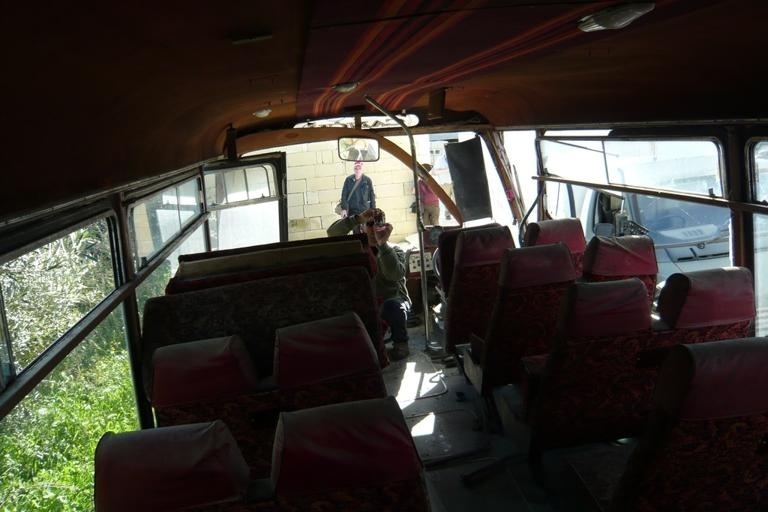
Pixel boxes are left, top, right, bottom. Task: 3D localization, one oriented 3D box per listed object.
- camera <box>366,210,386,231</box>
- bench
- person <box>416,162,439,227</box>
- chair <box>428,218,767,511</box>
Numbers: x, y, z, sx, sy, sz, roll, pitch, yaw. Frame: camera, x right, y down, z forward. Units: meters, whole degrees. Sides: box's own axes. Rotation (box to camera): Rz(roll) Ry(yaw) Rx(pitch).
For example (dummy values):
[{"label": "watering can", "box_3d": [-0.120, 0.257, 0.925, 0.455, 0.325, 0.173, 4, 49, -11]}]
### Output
[{"label": "camera", "box_3d": [-0.095, -0.381, 5.470, 0.161, 0.196, 0.182, 3, 10, -21]}, {"label": "bench", "box_3d": [-0.787, 0.292, 3.282, 1.360, 0.896, 0.774, -11, 1, -7]}, {"label": "person", "box_3d": [0.747, -0.857, 8.436, 0.298, 0.756, 0.941, -5, 12, 6]}, {"label": "chair", "box_3d": [1.126, 0.784, 3.630, 1.393, 1.676, 1.901, -1, 5, -11]}]
